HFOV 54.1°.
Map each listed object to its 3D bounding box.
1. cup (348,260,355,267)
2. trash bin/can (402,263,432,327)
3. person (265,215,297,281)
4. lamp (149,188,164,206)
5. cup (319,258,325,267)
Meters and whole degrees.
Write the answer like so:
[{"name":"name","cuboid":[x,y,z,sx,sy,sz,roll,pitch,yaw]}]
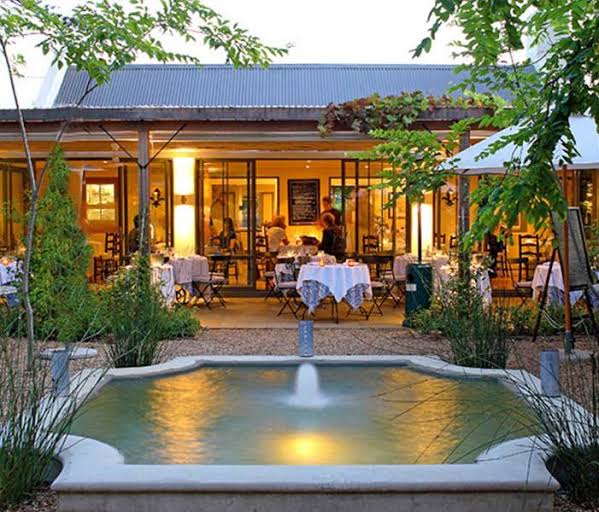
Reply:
[{"name":"cup","cuboid":[0.767,0.102,8.777,0.083,0.084,0.195,-1,-1,31]},{"name":"trash bin/can","cuboid":[1.639,0.531,8.279,0.401,0.818,0.675,-1,0,10]},{"name":"person","cuboid":[-0.431,-0.303,14.017,0.686,1.367,0.572,-10,13,-21]},{"name":"lamp","cuboid":[-3.313,-1.361,13.570,0.235,0.311,0.584,0,-1,-40]},{"name":"cup","cuboid":[0.317,0.096,8.770,0.082,0.145,0.091,-1,3,4]}]
